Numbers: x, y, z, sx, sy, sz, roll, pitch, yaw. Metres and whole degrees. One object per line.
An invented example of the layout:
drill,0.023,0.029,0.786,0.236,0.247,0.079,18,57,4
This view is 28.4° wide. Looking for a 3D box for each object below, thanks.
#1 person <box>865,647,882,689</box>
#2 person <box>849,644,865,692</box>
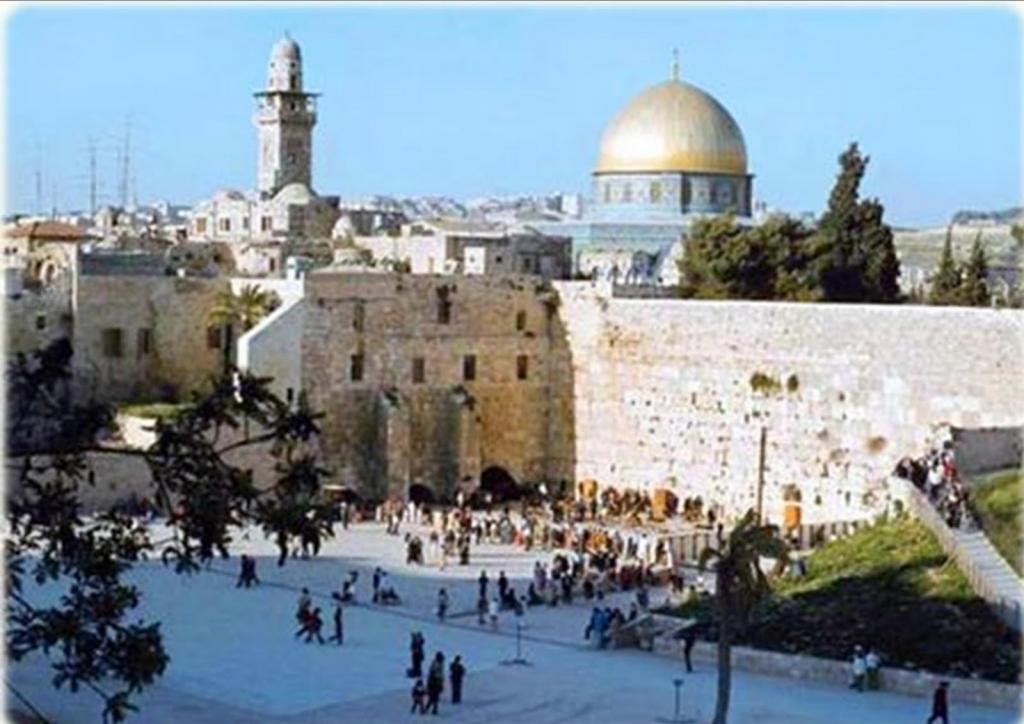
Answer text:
person,10.477,8.913,58.673,0.422,1.032,0.725,1,8,16
person,10.028,8.873,58.636,0.441,1.207,0.536,-2,8,-1
